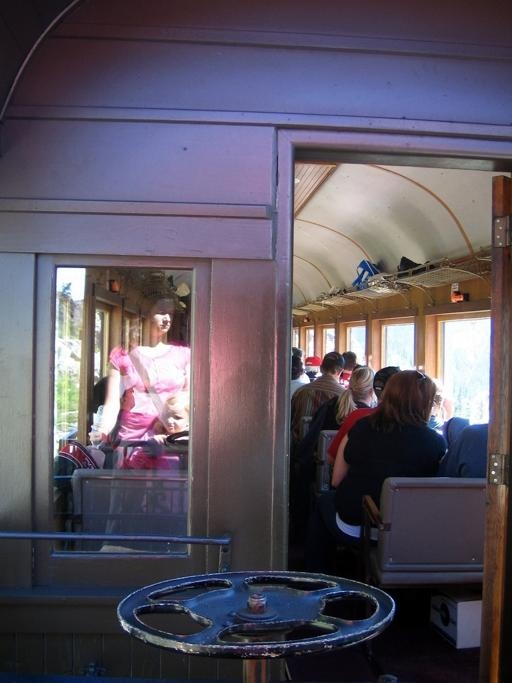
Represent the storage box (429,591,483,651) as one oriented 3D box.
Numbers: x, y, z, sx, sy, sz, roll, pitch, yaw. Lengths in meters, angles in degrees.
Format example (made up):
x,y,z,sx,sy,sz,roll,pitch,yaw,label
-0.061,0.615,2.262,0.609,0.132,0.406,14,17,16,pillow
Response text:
x,y,z,sx,sy,sz,roll,pitch,yaw,label
1.173,1.587,4.239,0.175,0.315,0.383,3,4,-11,storage box
